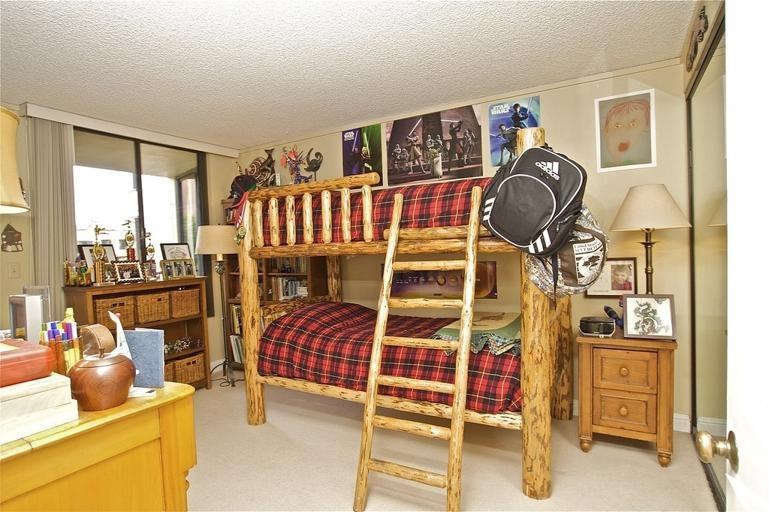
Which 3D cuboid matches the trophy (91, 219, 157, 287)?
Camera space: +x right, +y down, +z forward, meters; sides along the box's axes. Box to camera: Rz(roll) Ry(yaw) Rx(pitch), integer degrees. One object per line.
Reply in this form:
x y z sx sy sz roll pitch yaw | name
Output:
-2.763 -0.017 5.230 0.356 0.714 0.801 -3 -3 23 | trophy

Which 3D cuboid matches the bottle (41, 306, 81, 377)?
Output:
-1.652 0.443 2.568 0.141 0.315 0.208 2 6 -30 | bottle

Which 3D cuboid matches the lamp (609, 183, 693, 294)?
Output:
2.219 -0.049 4.151 0.606 0.997 0.541 -2 1 25 | lamp

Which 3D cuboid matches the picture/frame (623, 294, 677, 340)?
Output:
2.107 0.479 3.942 0.418 0.343 0.020 2 -8 -2 | picture/frame

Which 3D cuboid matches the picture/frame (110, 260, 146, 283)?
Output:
-2.655 0.166 5.124 0.054 0.202 0.261 -19 -16 42 | picture/frame

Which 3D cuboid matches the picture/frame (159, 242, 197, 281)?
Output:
-2.373 0.070 5.672 0.530 0.513 0.073 1 -31 -43 | picture/frame

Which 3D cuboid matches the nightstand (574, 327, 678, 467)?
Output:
2.081 1.114 4.260 0.863 0.966 0.710 -2 1 27 | nightstand

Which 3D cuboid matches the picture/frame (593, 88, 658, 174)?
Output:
2.162 -1.095 4.464 0.545 0.644 0.035 -7 14 -8 | picture/frame

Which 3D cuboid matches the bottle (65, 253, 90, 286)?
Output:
-2.988 0.140 4.833 0.208 0.325 0.316 -3 1 -33 | bottle

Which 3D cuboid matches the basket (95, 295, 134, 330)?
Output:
-2.662 0.554 4.941 0.292 0.177 0.157 -10 -6 2 | basket

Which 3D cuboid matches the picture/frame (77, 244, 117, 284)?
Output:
-2.878 0.092 4.955 0.022 0.456 0.448 -5 -2 34 | picture/frame

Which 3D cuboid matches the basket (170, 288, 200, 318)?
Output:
-2.184 0.527 5.524 0.285 0.302 0.455 -2 -4 16 | basket

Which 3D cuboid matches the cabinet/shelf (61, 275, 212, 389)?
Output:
-2.890 0.816 5.566 0.562 1.174 2.076 4 4 36 | cabinet/shelf
